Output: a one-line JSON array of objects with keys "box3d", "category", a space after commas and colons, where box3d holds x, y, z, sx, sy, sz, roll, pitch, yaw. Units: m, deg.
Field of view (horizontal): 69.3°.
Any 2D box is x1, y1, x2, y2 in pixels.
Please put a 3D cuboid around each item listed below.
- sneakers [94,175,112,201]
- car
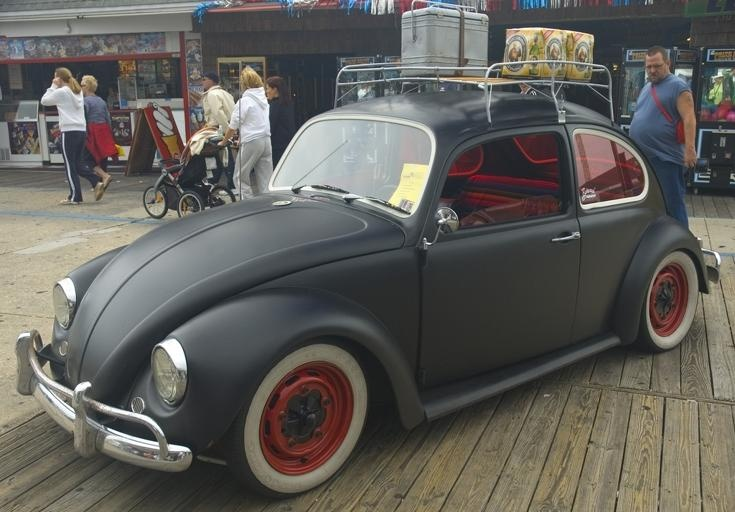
[{"box3d": [-5.190, -1.341, 10.485, 0.208, 0.560, 0.188, 24, 1, 34], "category": "sneakers"}, {"box3d": [0.077, -0.045, 3.586, 4.539, 2.284, 1.272, -11, 17, -26], "category": "car"}]
